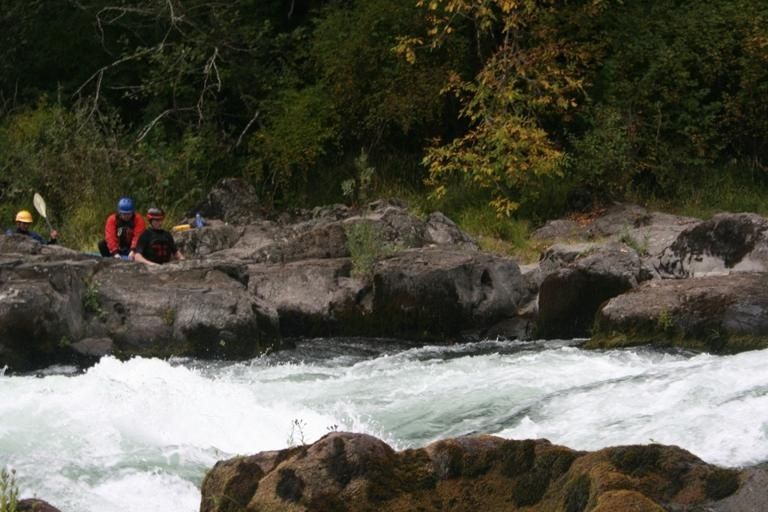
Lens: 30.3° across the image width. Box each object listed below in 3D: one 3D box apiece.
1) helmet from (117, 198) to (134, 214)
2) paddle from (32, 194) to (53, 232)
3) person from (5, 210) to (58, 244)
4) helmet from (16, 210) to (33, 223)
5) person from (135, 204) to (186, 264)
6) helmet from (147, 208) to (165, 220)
[{"bbox_3d":[-6.690,-1.322,36.551,0.345,0.373,0.444,4,26,-26],"label":"helmet"},{"bbox_3d":[-9.490,-1.407,39.055,0.356,0.586,2.602,23,3,-21],"label":"paddle"},{"bbox_3d":[-9.381,-0.792,37.716,1.308,0.862,4.388,0,3,-13],"label":"person"},{"bbox_3d":[-9.534,-1.031,37.329,0.403,0.364,0.589,1,-5,-39],"label":"helmet"},{"bbox_3d":[-5.690,-0.373,35.486,1.337,1.789,0.954,-6,10,-33],"label":"person"},{"bbox_3d":[-5.741,-1.083,35.415,0.325,0.340,0.279,7,-7,5],"label":"helmet"}]
